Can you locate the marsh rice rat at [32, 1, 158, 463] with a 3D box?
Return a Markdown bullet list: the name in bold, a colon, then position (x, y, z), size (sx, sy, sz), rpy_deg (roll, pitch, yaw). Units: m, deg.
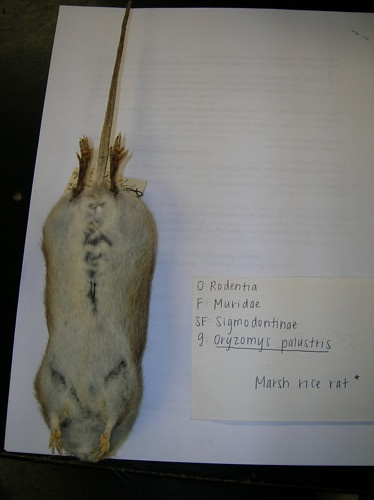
- **marsh rice rat**: position (-0.275, -0.054, 1.879), size (0.214, 0.297, 1.290), rpy_deg (1, 73, -4)
